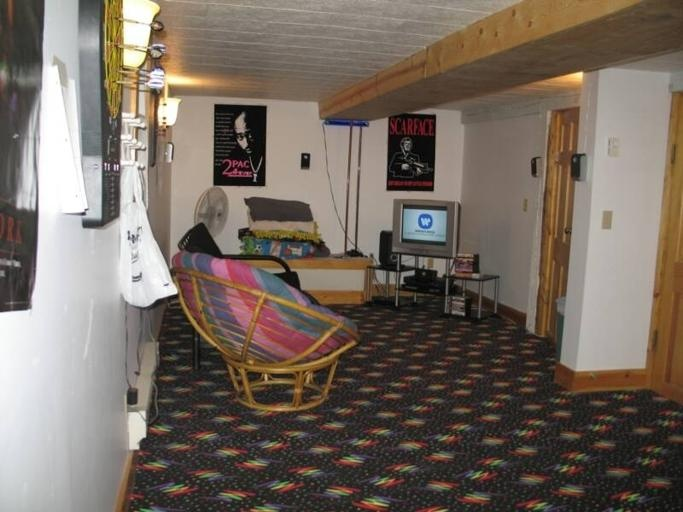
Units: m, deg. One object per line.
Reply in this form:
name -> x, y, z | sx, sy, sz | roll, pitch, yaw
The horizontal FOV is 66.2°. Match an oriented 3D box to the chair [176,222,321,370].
chair -> -0.988, 0.275, 4.774 | 1.501, 1.516, 1.081 | -1, 4, -8

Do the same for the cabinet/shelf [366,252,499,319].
cabinet/shelf -> 1.276, 0.290, 7.121 | 1.713, 0.784, 1.395 | 5, 8, 20

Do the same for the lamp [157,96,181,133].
lamp -> -1.693, -1.408, 5.110 | 0.182, 0.309, 0.311 | 0, 8, -17
